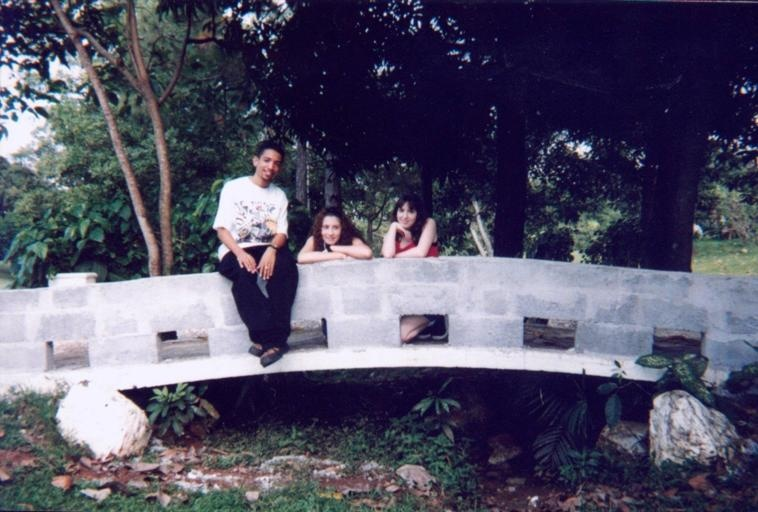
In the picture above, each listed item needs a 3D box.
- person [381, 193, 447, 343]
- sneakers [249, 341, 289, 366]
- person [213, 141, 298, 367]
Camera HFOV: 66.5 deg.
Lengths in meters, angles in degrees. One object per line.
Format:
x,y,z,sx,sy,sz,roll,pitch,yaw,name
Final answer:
0.468,0.152,7.294,0.885,1.821,0.546,2,-1,-12,person
-1.302,1.137,6.814,0.400,0.146,0.233,-22,43,-26,sneakers
-1.464,-0.045,6.959,0.966,2.673,0.479,2,-1,-15,person
